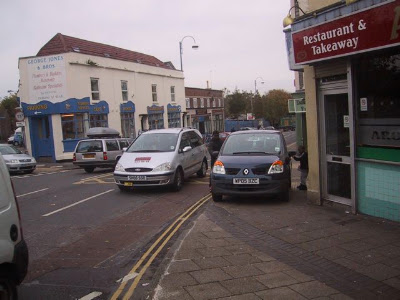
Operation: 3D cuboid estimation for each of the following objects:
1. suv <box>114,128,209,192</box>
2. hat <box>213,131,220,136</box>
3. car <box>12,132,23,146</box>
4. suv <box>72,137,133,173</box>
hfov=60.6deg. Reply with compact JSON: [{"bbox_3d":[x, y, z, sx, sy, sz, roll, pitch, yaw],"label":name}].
[{"bbox_3d":[-1.289,0.291,13.239,2.433,2.188,4.865,-1,5,24],"label":"suv"},{"bbox_3d":[0.682,-0.719,14.576,0.164,0.192,0.224,-2,0,-3],"label":"hat"},{"bbox_3d":[-24.347,-1.421,45.668,1.243,1.772,1.851,4,-34,-31],"label":"car"},{"bbox_3d":[-5.184,0.334,18.759,1.831,1.333,3.442,0,7,21],"label":"suv"}]
